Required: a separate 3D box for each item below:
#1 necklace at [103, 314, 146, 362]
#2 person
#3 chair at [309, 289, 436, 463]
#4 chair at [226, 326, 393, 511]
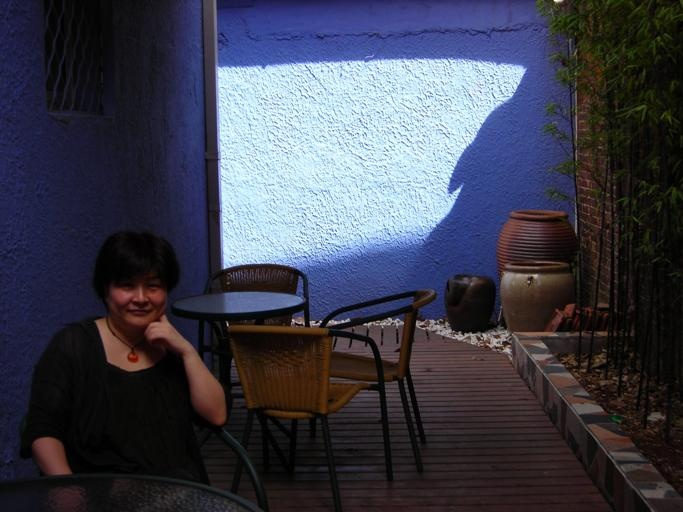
[{"bbox_3d":[-0.724,0.276,2.144,0.103,0.155,0.025,-24,-7,-40],"label":"necklace"},{"bbox_3d":[-0.771,0.357,2.083,0.551,0.839,0.341,-6,10,-27],"label":"person"},{"bbox_3d":[0.280,0.612,4.068,0.953,1.232,0.991,2,2,5],"label":"chair"},{"bbox_3d":[-0.179,0.742,3.257,0.640,0.960,0.687,-1,9,6],"label":"chair"}]
